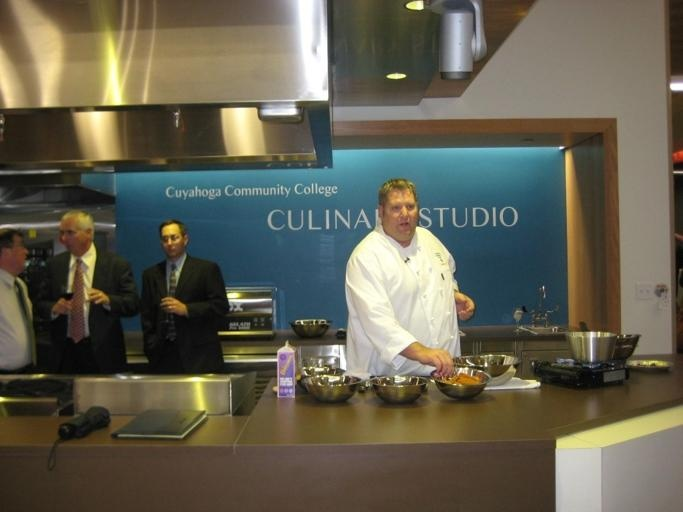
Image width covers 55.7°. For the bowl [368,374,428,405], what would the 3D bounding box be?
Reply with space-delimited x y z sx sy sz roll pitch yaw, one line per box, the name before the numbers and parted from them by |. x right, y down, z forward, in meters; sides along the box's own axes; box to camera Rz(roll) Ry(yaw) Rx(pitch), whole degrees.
bowl | 0.252 0.596 2.874 0.255 0.098 0.230 -2 3 2

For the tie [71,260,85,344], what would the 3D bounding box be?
tie | -1.735 0.279 4.229 0.101 0.538 0.240 -3 3 -19

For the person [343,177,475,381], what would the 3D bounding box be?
person | 0.295 0.115 3.353 0.605 1.035 0.897 -1 3 10

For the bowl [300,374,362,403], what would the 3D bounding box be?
bowl | -0.051 0.596 2.927 0.253 0.102 0.286 -2 3 -6

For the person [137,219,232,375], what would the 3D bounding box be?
person | -1.089 0.270 4.303 0.643 1.012 0.527 -1 3 7

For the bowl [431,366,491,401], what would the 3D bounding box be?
bowl | 0.557 0.583 2.915 0.237 0.106 0.277 1 4 38

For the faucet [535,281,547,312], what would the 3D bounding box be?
faucet | 1.647 0.342 5.297 0.097 0.235 0.101 -1 3 4

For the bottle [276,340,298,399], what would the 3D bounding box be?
bottle | -0.258 0.522 2.964 0.081 0.249 0.078 -2 3 0

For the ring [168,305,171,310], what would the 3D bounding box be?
ring | -1.090 0.326 4.075 0.022 0.021 0.005 1 3 1

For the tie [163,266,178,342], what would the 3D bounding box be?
tie | -1.151 0.306 4.341 0.093 0.506 0.294 -2 3 -14

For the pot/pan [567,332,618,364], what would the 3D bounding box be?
pot/pan | 1.232 0.452 3.166 0.215 0.140 0.216 -1 1 32

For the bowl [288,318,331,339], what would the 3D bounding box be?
bowl | -0.237 0.555 4.926 0.290 0.127 0.199 -2 3 -2

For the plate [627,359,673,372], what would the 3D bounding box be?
plate | 1.647 0.573 3.452 0.209 0.044 0.344 0 3 27
